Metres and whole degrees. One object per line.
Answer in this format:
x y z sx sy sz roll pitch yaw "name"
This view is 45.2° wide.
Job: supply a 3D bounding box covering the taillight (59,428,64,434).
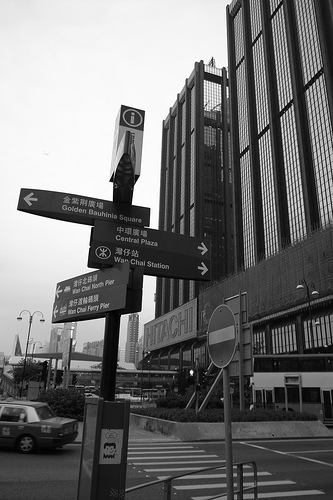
-2.861 4.904 10.844 0.098 0.110 0.109 -2 -8 12 "taillight"
